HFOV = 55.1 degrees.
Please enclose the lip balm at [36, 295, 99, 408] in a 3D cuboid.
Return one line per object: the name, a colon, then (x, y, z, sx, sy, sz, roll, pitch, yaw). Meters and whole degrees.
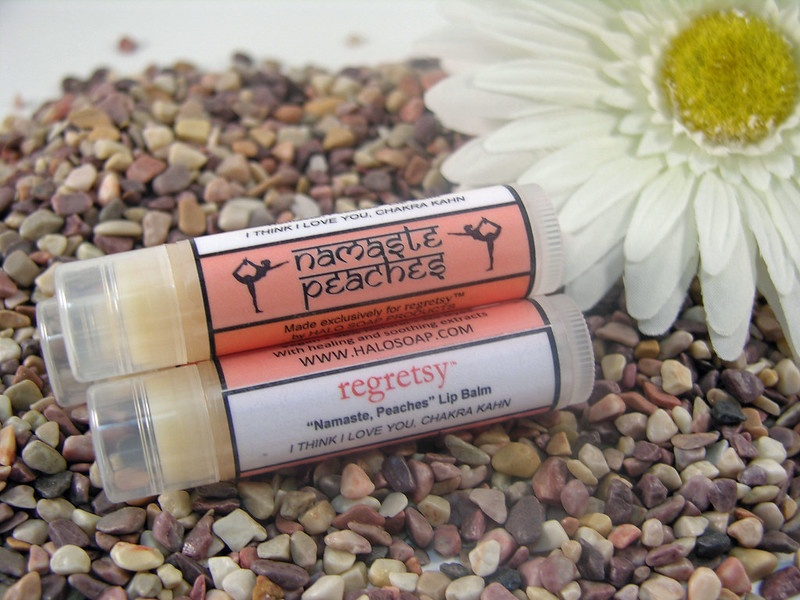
lip balm: (-0.324, 0.052, 0.735, 0.028, 0.095, 0.070, 1, 12, 15)
